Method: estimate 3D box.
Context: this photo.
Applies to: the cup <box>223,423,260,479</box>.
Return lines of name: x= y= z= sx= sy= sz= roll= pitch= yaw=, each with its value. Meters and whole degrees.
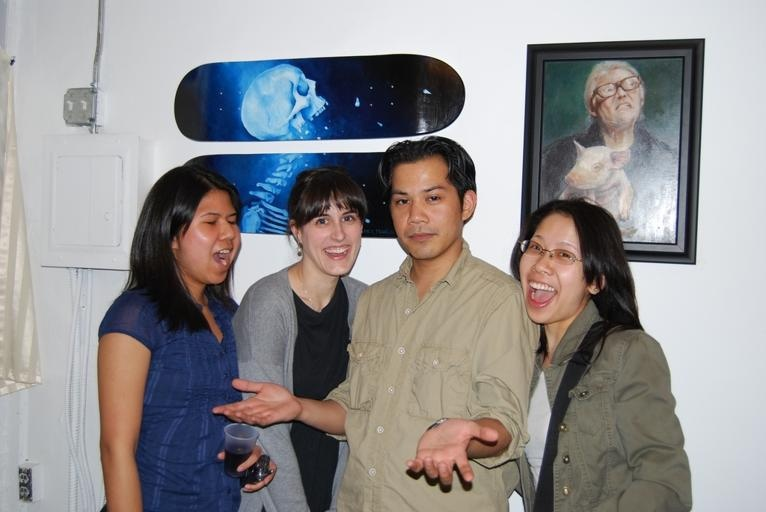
cup: x=-0.557 y=0.751 z=2.411 sx=0.126 sy=0.207 sz=0.120 roll=1 pitch=-2 yaw=0
